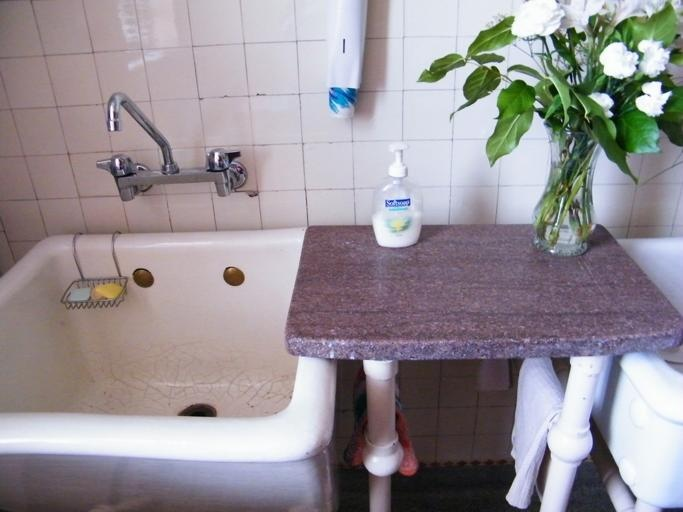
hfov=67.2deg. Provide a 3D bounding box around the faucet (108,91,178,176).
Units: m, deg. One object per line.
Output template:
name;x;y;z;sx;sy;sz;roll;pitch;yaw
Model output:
faucet;-0.509;-0.314;1.338;0.116;0.228;0.224;-9;25;-7

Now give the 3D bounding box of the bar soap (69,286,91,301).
bar soap;-0.744;0.109;1.464;0.044;0.010;0.041;0;36;-4

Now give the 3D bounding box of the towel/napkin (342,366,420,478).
towel/napkin;0.107;0.433;1.318;0.179;0.303;0.098;-3;4;18
